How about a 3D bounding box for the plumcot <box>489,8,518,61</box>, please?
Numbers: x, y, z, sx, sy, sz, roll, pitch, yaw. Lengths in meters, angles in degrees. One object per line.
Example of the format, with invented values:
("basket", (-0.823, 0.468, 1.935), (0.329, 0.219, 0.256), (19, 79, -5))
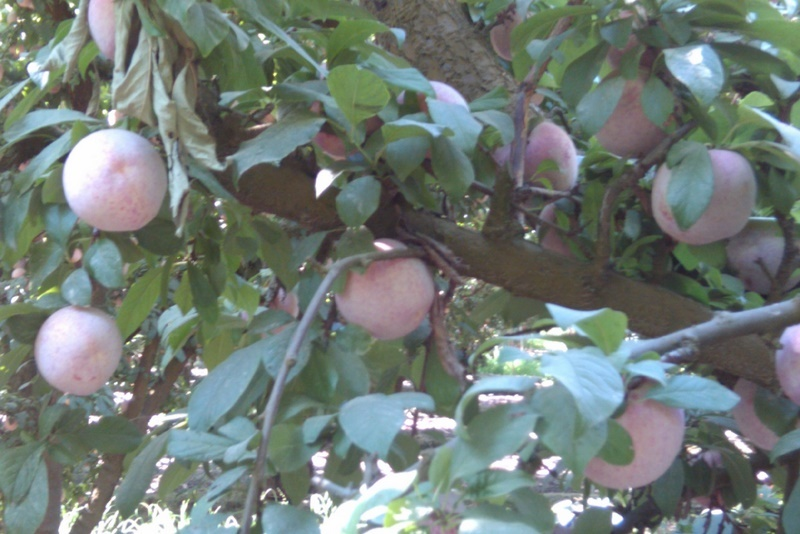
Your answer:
("plumcot", (0.229, -0.524, 1.964), (0.033, 0.108, 0.087), (11, -8, -28))
